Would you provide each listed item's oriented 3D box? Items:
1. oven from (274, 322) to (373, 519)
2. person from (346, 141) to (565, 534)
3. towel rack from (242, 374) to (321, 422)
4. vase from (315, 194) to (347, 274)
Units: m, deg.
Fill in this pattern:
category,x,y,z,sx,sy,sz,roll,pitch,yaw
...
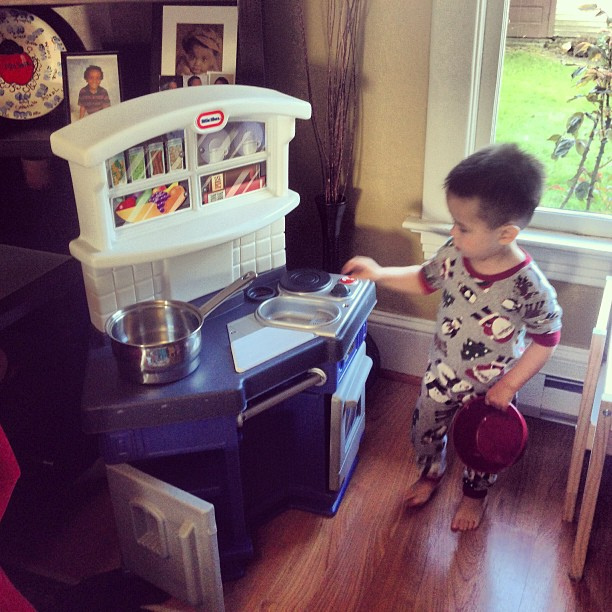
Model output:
category,x,y,z,sx,sy,sz,roll,pitch,yaw
oven,0.043,0.269,1.617,0.269,0.499,0.405,6,19,24
person,0.356,0.073,1.463,0.212,0.958,0.498,-19,32,-33
towel rack,-0.050,0.205,1.316,0.045,0.049,0.258,25,36,35
vase,0.078,-0.224,1.869,0.094,0.260,0.184,1,26,3
